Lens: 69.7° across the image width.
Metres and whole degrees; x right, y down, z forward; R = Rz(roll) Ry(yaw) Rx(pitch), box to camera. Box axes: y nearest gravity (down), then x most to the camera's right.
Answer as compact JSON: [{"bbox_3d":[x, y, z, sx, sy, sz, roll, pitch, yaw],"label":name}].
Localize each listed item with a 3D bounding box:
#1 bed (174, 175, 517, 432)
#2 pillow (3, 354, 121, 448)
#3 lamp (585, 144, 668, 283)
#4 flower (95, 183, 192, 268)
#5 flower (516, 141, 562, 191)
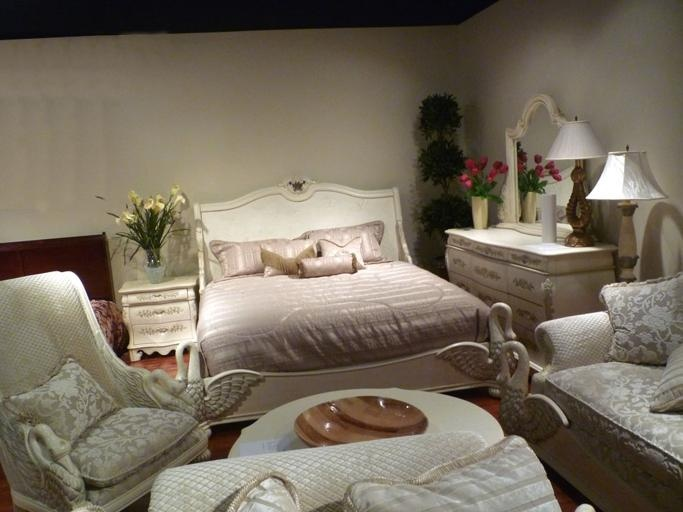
[{"bbox_3d":[-0.151,0.211,4.050,2.326,1.606,2.532,-5,14,3],"label":"bed"},{"bbox_3d":[-1.328,0.698,2.354,0.291,0.299,0.525,-3,6,14],"label":"pillow"},{"bbox_3d":[1.818,-0.267,3.135,0.423,0.856,0.497,0,8,31],"label":"lamp"},{"bbox_3d":[-1.907,-0.324,4.739,0.782,0.724,0.710,-6,6,-30],"label":"flower"},{"bbox_3d":[1.640,-0.733,4.133,0.295,0.236,0.357,5,15,17],"label":"flower"}]
